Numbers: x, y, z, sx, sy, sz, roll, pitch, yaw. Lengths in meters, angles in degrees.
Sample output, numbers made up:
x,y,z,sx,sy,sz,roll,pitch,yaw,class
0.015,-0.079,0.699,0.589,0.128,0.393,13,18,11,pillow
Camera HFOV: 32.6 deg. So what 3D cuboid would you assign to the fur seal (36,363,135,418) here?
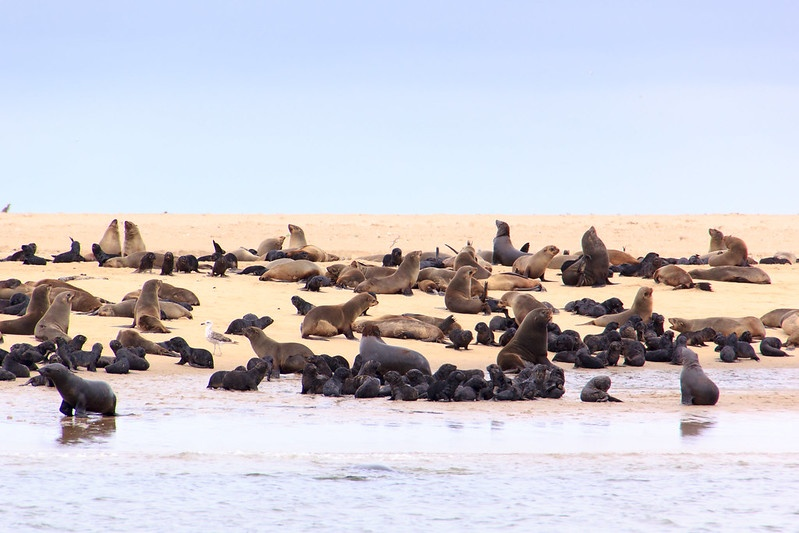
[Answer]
x,y,z,sx,sy,sz,roll,pitch,yaw,class
-4.494,1.727,19.169,1.020,0.771,0.346,-1,16,-10,fur seal
